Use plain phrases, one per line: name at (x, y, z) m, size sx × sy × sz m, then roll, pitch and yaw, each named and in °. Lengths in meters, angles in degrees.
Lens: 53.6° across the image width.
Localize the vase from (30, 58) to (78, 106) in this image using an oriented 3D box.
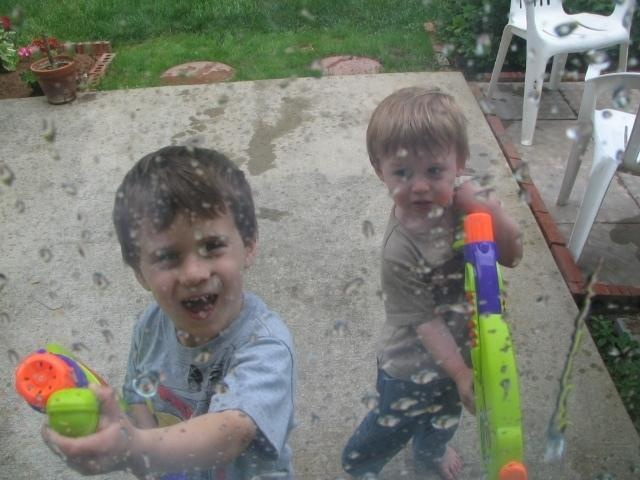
vase at (-1.806, -1.089, 4.359) m, size 0.301 × 0.255 × 0.317 m, roll -5°, pitch 32°, yaw -4°
